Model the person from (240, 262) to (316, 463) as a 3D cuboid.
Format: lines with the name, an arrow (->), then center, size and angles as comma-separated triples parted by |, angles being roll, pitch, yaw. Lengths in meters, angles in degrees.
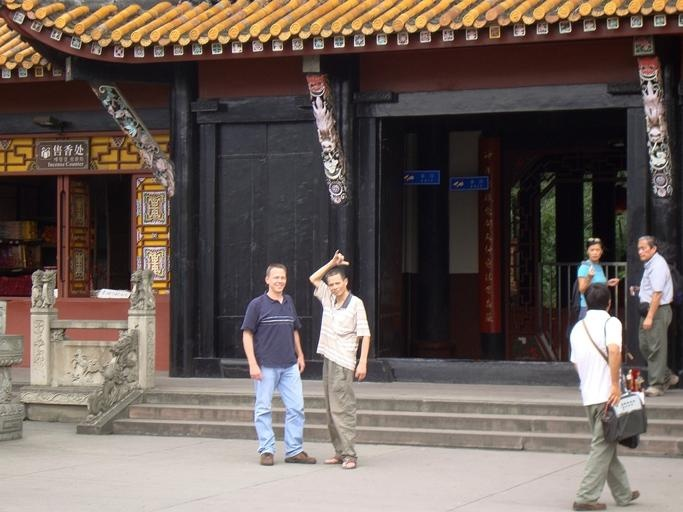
person -> -0.695, 1.190, 12.321 | 0.747, 2.183, 0.470 | -2, -1, -5

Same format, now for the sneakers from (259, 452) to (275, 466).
sneakers -> -0.808, 2.212, 12.241 | 0.161, 0.142, 0.220 | -2, 0, -5

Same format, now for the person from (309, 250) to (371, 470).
person -> 0.016, 1.129, 12.234 | 0.476, 1.560, 0.666 | -1, -1, -22

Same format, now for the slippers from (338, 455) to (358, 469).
slippers -> 0.083, 2.221, 11.991 | 0.156, 0.091, 0.139 | -2, 0, -7

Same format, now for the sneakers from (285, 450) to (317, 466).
sneakers -> -0.438, 2.227, 12.304 | 0.358, 0.152, 0.130 | -2, -4, 14

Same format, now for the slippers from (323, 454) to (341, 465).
slippers -> -0.095, 2.234, 12.238 | 0.170, 0.067, 0.087 | 3, -6, 5

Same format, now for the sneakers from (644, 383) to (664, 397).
sneakers -> 3.856, 1.688, 13.911 | 0.274, 0.124, 0.108 | 4, -7, -11

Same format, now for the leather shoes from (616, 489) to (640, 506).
leather shoes -> 2.756, 2.340, 10.802 | 0.099, 0.123, 0.292 | 11, 25, 37

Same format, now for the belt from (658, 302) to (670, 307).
belt -> 3.990, 0.596, 13.868 | 0.128, 0.036, 0.025 | -2, -1, -21

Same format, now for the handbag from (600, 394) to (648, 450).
handbag -> 2.665, 1.532, 10.592 | 0.417, 0.410, 0.213 | -2, -1, 5

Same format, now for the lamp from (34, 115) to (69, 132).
lamp -> -4.392, -2.032, 17.101 | 0.332, 0.080, 0.311 | 2, -9, 16

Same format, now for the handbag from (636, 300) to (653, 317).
handbag -> 3.785, 0.653, 14.076 | 0.145, 0.266, 0.206 | 3, 2, 17
